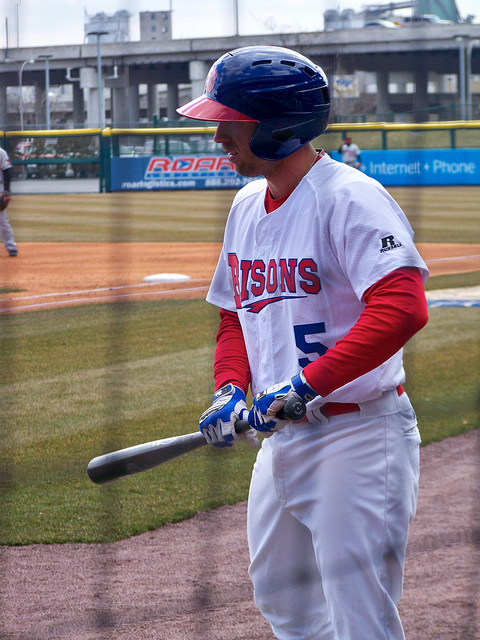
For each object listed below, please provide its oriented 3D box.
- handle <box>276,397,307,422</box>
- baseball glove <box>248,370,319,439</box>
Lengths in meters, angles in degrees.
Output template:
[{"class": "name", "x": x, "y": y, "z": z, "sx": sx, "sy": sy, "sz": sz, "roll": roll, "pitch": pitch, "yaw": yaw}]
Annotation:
[{"class": "handle", "x": 0.144, "y": 0.248, "z": 3.444, "sx": 0.072, "sy": 0.066, "sz": 0.113, "roll": 0, "pitch": -5, "yaw": -8}, {"class": "baseball glove", "x": 0.100, "y": 0.229, "z": 3.493, "sx": 0.092, "sy": 0.216, "sz": 0.126, "roll": 30, "pitch": 19, "yaw": -40}]
